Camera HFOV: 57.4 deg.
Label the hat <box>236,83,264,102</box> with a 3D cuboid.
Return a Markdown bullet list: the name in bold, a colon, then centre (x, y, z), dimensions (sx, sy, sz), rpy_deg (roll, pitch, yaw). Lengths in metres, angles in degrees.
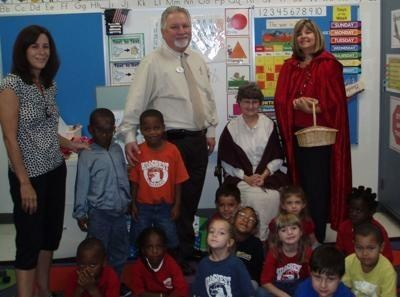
- **hat**: centre (0.467, -0.524, 3.501), dimensions (0.155, 0.188, 0.211), rpy_deg (-1, -4, -4)

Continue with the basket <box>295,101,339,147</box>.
- **basket**: centre (0.987, -0.199, 3.122), dimensions (0.350, 0.394, 0.209), rpy_deg (0, 7, 18)

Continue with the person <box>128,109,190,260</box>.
- **person**: centre (-0.367, 0.388, 2.932), dimensions (0.623, 1.332, 0.351), rpy_deg (-4, 14, -14)
